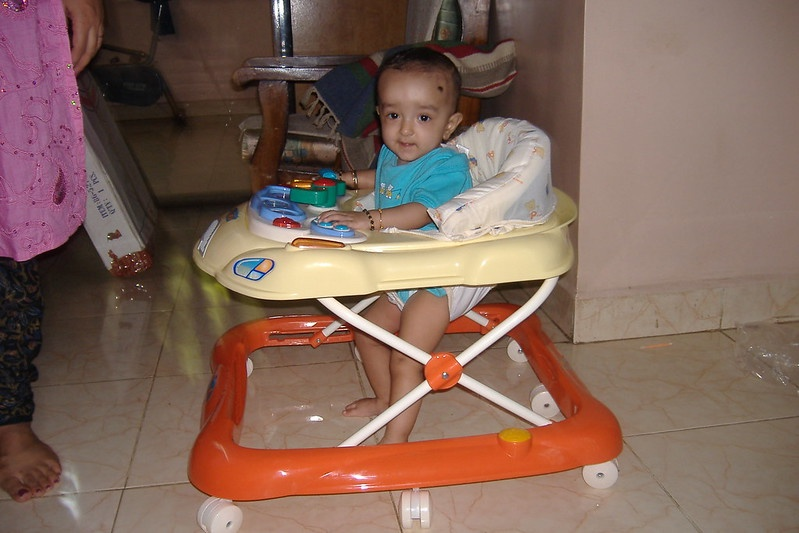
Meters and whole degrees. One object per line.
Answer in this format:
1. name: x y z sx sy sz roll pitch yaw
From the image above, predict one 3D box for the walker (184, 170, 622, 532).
1. walker: 0.030 0.243 1.619 1.002 0.609 0.785 0 33 -6
